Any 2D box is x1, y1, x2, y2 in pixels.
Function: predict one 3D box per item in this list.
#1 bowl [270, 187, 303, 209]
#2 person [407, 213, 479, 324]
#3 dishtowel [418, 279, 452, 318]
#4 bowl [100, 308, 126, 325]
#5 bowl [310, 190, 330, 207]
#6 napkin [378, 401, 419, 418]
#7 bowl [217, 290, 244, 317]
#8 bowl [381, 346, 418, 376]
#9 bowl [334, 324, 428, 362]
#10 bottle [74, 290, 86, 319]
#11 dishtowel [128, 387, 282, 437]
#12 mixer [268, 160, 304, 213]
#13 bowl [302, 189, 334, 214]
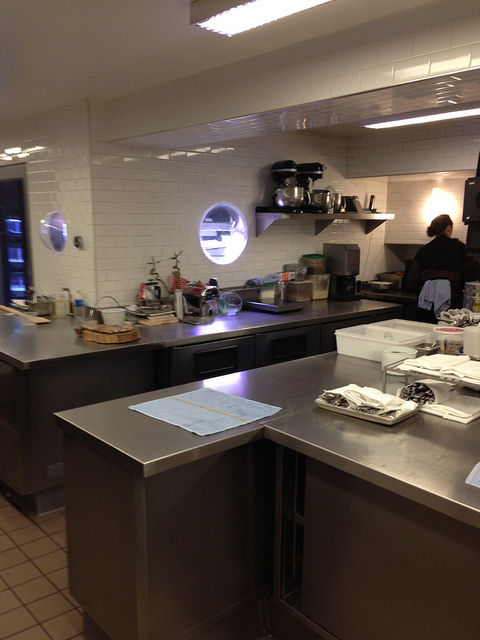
[{"bbox_3d":[0.461,-1.126,4.649,0.209,0.128,0.219,-1,2,0],"label":"bowl"},{"bbox_3d":[1.952,-0.502,4.936,0.376,1.053,0.502,-2,10,-9],"label":"person"},{"bbox_3d":[1.877,-0.214,4.810,0.371,0.353,0.158,11,2,34],"label":"dishtowel"},{"bbox_3d":[-0.923,-0.019,3.625,0.109,0.099,0.144,5,10,27],"label":"bowl"},{"bbox_3d":[0.761,-1.153,4.833,0.165,0.109,0.161,1,3,0],"label":"bowl"},{"bbox_3d":[0.585,0.308,1.807,0.053,0.022,0.163,14,15,38],"label":"napkin"},{"bbox_3d":[-0.102,-0.136,4.269,0.168,0.195,0.200,3,10,21],"label":"bowl"},{"bbox_3d":[0.706,0.169,2.276,0.171,0.108,0.145,-3,6,-37],"label":"bowl"},{"bbox_3d":[0.720,0.115,2.746,0.304,0.094,0.253,8,12,44],"label":"bowl"},{"bbox_3d":[-1.266,-0.111,3.941,0.037,0.274,0.229,-1,3,-42],"label":"bottle"},{"bbox_3d":[-0.133,0.336,1.909,0.424,0.028,0.477,-9,12,-43],"label":"dishtowel"},{"bbox_3d":[0.432,-1.263,4.746,0.329,0.500,0.410,-8,14,-24],"label":"mixer"},{"bbox_3d":[0.785,-1.138,4.880,0.339,0.224,0.254,-9,14,-32],"label":"bowl"}]
